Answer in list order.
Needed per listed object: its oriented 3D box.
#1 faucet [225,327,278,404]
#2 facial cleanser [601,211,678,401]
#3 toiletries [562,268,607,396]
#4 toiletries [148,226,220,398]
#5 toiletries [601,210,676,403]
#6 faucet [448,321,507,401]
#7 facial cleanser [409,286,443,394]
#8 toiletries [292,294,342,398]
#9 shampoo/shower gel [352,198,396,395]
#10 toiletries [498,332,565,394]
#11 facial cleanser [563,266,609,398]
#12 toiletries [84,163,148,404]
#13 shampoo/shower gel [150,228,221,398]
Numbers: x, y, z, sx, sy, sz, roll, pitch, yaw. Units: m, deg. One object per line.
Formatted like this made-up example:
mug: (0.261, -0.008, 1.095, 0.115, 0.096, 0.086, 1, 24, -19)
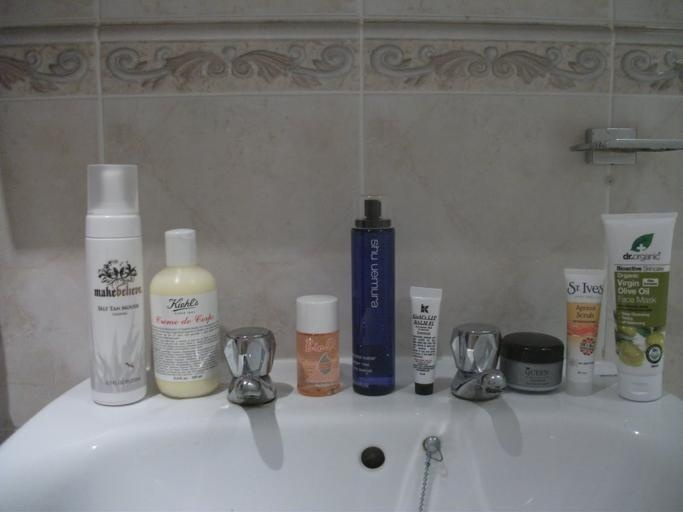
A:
faucet: (-0.119, 0.158, 0.966, 0.082, 0.101, 0.088, 0, -1, -1)
facial cleanser: (0.395, 0.062, 0.936, 0.102, 0.257, 0.097, 3, 4, 13)
toiletries: (0.328, 0.104, 0.930, 0.046, 0.165, 0.068, 0, 5, 4)
toiletries: (-0.215, 0.073, 0.933, 0.088, 0.246, 0.087, 0, 3, -5)
toiletries: (0.401, 0.056, 0.916, 0.084, 0.317, 0.074, 1, 3, 11)
faucet: (0.186, 0.148, 0.925, 0.070, 0.101, 0.100, -1, 1, 1)
facial cleanser: (0.116, 0.114, 0.935, 0.049, 0.143, 0.051, 0, 7, 5)
toiletries: (-0.034, 0.126, 0.939, 0.059, 0.129, 0.077, 0, 2, -1)
shampoo/shower gel: (0.044, 0.051, 0.989, 0.065, 0.251, 0.082, 0, 4, 2)
toiletries: (0.270, 0.149, 0.942, 0.077, 0.062, 0.080, -1, 9, 0)
facial cleanser: (0.336, 0.098, 0.931, 0.050, 0.187, 0.051, 0, 2, 2)
toiletries: (-0.308, 0.039, 0.916, 0.081, 0.331, 0.082, 0, 2, -7)
shampoo/shower gel: (-0.214, 0.085, 0.931, 0.087, 0.248, 0.086, 0, 3, -8)
